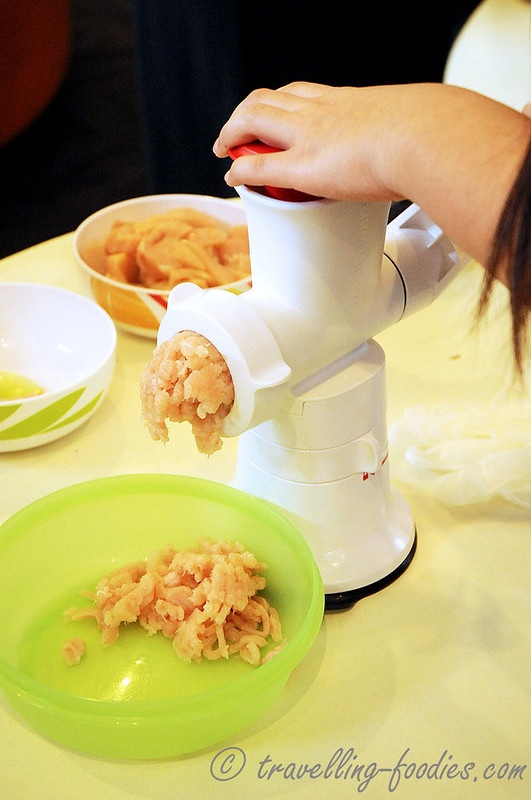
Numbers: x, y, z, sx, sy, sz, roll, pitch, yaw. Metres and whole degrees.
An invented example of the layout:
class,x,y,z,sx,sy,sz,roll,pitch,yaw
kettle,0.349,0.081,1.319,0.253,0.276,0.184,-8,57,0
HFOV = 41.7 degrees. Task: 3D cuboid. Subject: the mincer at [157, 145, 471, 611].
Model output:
class,x,y,z,sx,sy,sz,roll,pitch,yaw
mincer,0.050,-0.026,0.576,0.179,0.345,0.301,28,45,37
